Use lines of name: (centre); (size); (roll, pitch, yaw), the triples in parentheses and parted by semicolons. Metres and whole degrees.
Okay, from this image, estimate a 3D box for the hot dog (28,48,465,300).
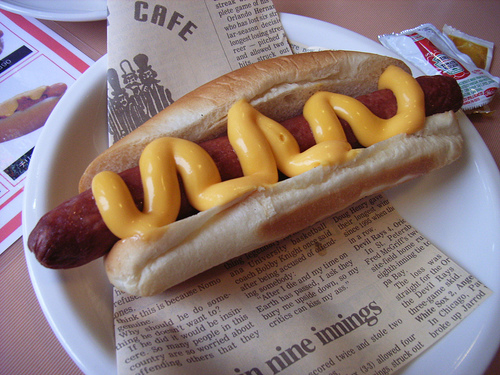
hot dog: (0.055, 0.020, 1.789); (1.699, 0.563, 0.797); (-23, 48, -5)
